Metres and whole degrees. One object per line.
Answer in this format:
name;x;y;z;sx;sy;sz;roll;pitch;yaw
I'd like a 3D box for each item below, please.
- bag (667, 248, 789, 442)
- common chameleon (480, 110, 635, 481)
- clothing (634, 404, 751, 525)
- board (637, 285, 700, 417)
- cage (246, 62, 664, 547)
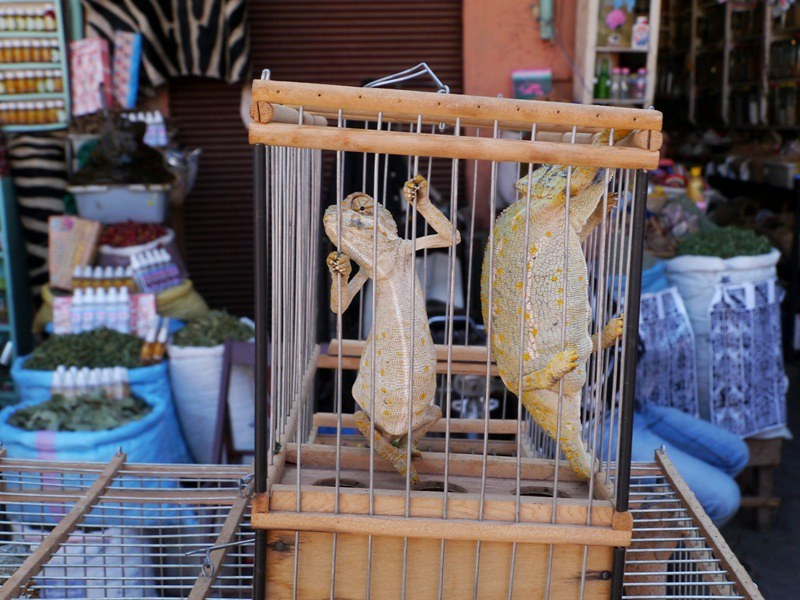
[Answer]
bag;1.911;0.254;9.067;0.885;1.311;0.836;-4;3;11
common chameleon;0.705;0.024;7.331;0.527;1.701;0.561;-3;2;23
clothing;1.534;0.915;8.738;0.621;0.641;0.239;23;-33;-15
board;1.504;0.314;9.073;0.311;0.683;0.148;-6;-4;-11
cage;0.230;0.238;7.994;1.993;3.114;2.197;1;-4;-4
